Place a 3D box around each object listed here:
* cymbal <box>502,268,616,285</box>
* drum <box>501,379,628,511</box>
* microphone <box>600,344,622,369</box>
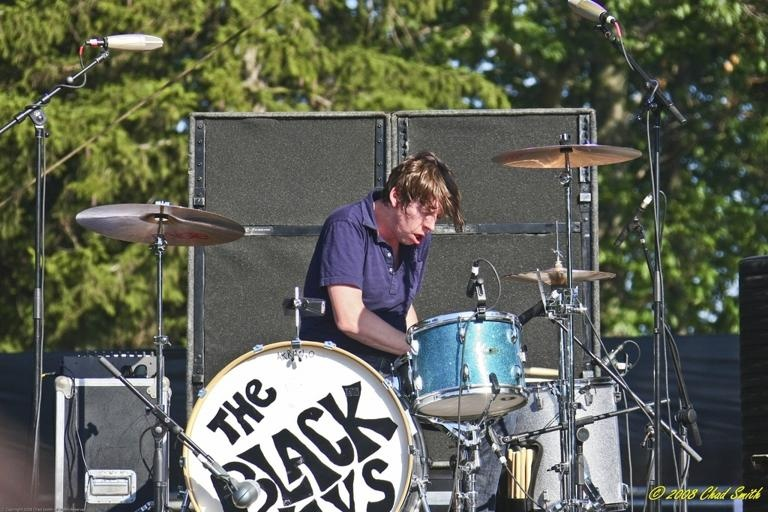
[{"bbox_3d":[2.120,0.275,36.057,1.170,0.245,0.997,5,-7,-43],"label":"cymbal"},{"bbox_3d":[2.205,2.394,36.236,1.637,1.406,1.555,-2,-8,2],"label":"drum"},{"bbox_3d":[2.803,1.249,35.738,0.256,0.267,0.504,-1,-5,3],"label":"microphone"}]
